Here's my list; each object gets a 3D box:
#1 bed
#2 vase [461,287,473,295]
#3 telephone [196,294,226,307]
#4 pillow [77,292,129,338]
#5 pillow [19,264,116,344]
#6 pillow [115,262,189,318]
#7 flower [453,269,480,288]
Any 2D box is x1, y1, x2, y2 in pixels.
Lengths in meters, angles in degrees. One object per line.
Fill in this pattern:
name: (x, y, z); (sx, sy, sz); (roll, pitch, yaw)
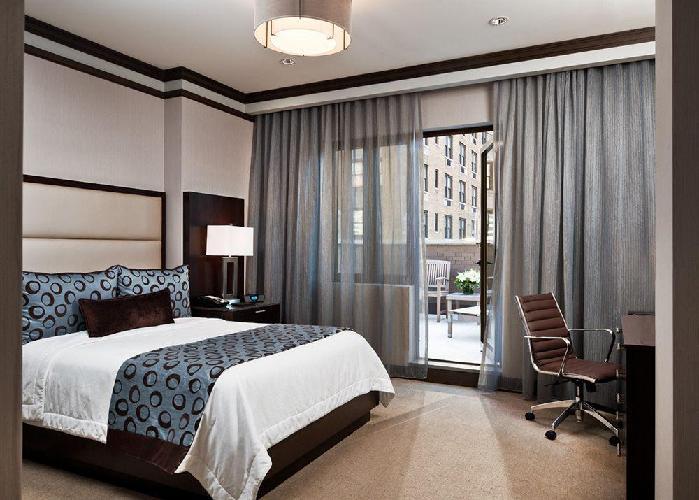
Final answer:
bed: (-1.365, 0.227, 3.509); (2.141, 1.451, 2.099); (3, 0, 22)
vase: (1.800, 0.658, 7.421); (0.169, 0.130, 0.097); (-2, -8, 22)
telephone: (-1.370, 0.513, 4.777); (0.185, 0.066, 0.143); (-3, -1, 9)
pillow: (-1.772, 0.456, 3.415); (0.098, 0.248, 0.344); (-23, -10, 23)
pillow: (-1.997, 0.401, 3.375); (0.174, 0.401, 0.540); (1, -1, 23)
pillow: (-1.651, 0.346, 3.984); (0.152, 0.382, 0.455); (-2, -5, 30)
flower: (1.805, 0.459, 7.537); (0.347, 0.272, 0.364); (-2, -2, 30)
